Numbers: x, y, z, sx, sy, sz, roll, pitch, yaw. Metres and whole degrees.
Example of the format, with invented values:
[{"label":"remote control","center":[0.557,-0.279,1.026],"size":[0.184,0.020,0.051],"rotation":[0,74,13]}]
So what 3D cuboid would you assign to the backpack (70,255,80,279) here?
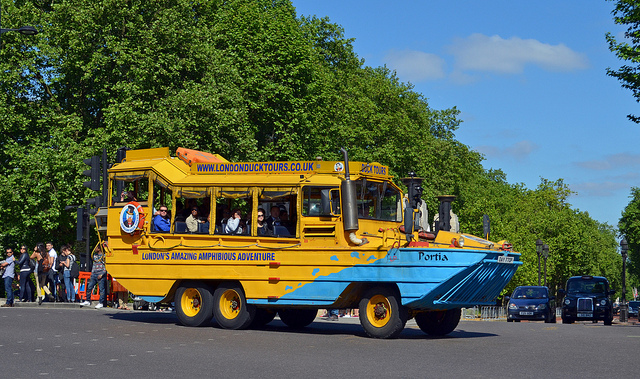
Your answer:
[{"label":"backpack","center":[-11.601,3.626,37.225],"size":[0.419,1.027,0.823],"rotation":[4,-5,-18]}]

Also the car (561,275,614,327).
[{"label":"car","center":[14.898,5.872,43.939],"size":[2.606,2.192,4.554],"rotation":[-2,4,18]}]

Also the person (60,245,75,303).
[{"label":"person","center":[-11.966,3.981,37.284],"size":[0.772,2.630,0.962],"rotation":[4,-5,-16]}]

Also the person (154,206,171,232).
[{"label":"person","center":[-5.830,1.122,29.174],"size":[0.549,0.760,0.943],"rotation":[-6,-6,18]}]

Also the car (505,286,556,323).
[{"label":"car","center":[11.738,6.346,43.871],"size":[1.962,1.230,2.814],"rotation":[-2,-11,15]}]

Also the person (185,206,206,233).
[{"label":"person","center":[-4.562,1.144,28.892],"size":[0.780,1.108,0.701],"rotation":[7,-25,-26]}]

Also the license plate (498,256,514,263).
[{"label":"license plate","center":[6.465,2.439,27.356],"size":[0.875,0.225,0.038],"rotation":[6,-6,-40]}]

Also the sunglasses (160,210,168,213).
[{"label":"sunglasses","center":[-5.803,0.807,29.280],"size":[0.293,0.100,0.108],"rotation":[6,-6,-39]}]
